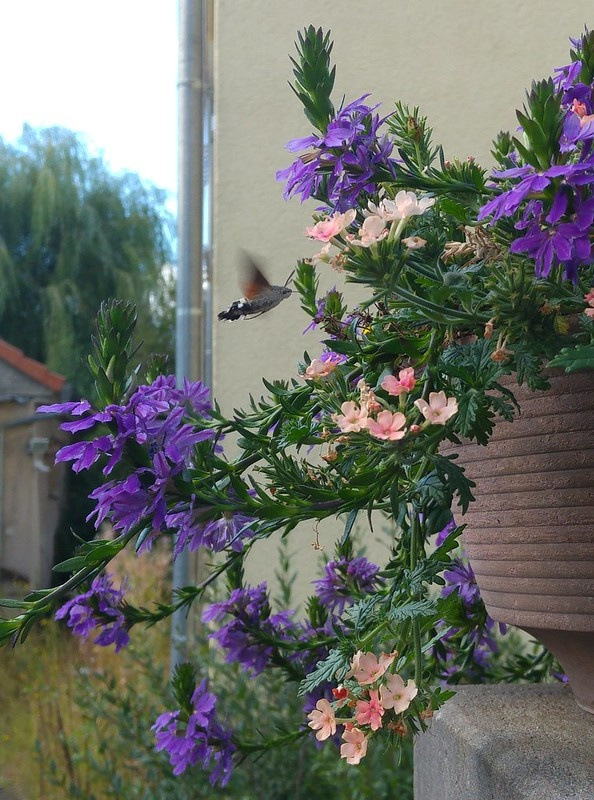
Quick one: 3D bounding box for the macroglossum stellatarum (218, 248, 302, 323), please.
[{"bbox_3d":[-0.047,-0.138,2.198,0.092,0.060,0.092,0,-2,12],"label":"macroglossum stellatarum"}]
